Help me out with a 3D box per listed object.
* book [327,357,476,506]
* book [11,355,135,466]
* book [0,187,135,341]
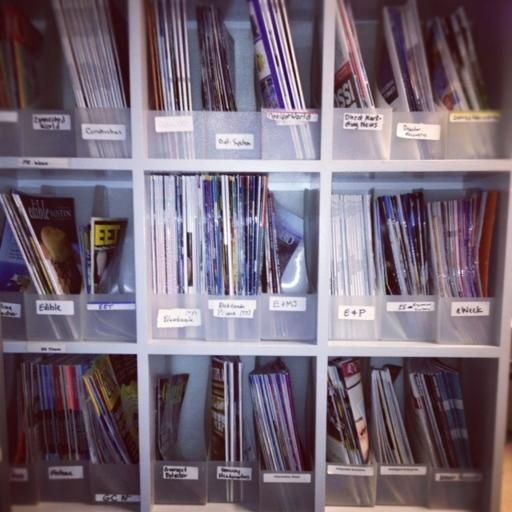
[{"bbox_3d":[0.451,0.534,1.432,0.283,0.473,0.147,-4,1,5],"label":"book"},{"bbox_3d":[-0.534,0.398,1.621,0.321,0.388,0.272,-1,-5,-2],"label":"book"},{"bbox_3d":[-0.538,0.063,1.695,0.323,0.548,0.490,-1,-2,0],"label":"book"}]
